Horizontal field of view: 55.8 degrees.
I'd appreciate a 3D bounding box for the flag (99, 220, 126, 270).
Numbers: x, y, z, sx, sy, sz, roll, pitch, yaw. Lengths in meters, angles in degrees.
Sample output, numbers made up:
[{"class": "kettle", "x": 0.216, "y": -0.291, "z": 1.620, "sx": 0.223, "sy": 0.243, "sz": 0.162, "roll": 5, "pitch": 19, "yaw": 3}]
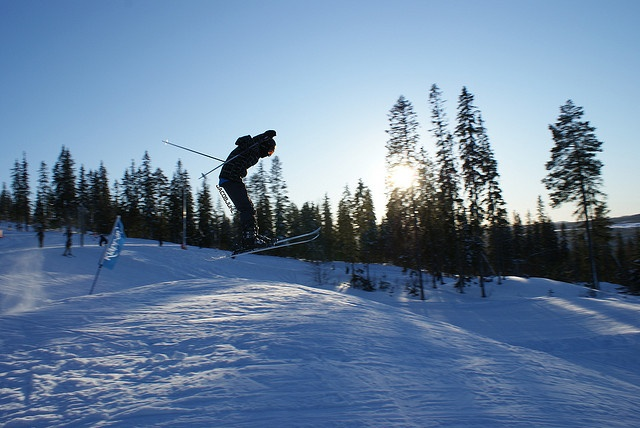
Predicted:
[{"class": "flag", "x": -10.412, "y": 1.399, "z": 30.631, "sx": 0.954, "sy": 2.686, "sz": 2.322, "roll": 2, "pitch": -7, "yaw": -15}]
